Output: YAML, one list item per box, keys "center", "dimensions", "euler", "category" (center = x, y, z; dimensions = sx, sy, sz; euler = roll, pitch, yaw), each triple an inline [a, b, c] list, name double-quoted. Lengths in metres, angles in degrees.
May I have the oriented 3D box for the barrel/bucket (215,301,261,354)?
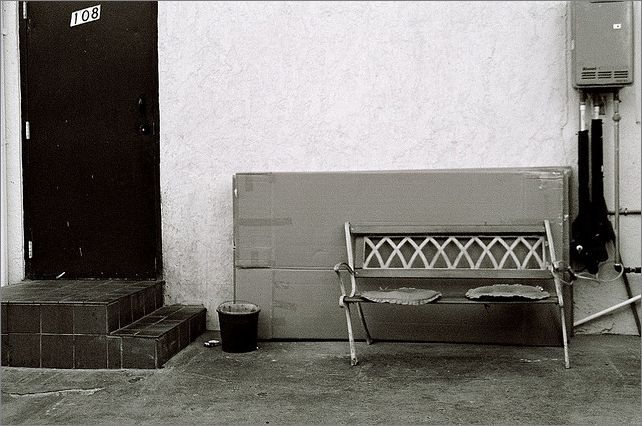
- center: [-0.858, 1.162, 7.196]
  dimensions: [0.496, 0.472, 0.506]
  euler: [0, 1, 0]
  category: "barrel/bucket"

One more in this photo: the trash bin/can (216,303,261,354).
- center: [-0.861, 1.161, 7.204]
  dimensions: [0.479, 0.443, 0.475]
  euler: [1, 4, 14]
  category: "trash bin/can"
